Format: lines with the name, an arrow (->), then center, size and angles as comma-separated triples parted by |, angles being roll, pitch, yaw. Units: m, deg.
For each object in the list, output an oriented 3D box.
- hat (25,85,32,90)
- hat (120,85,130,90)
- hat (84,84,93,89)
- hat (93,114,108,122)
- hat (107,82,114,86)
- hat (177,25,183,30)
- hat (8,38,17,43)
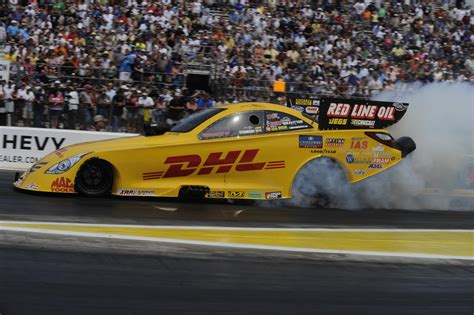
hat -> -5.343, -1.802, 16.854 | 0.183, 0.035, 0.130 | -15, 22, -13
hat -> -2.950, -1.854, 17.347 | 0.255, 0.048, 0.186 | -4, 26, -22
hat -> -3.872, -1.869, 17.201 | 0.210, 0.126, 0.176 | 2, 11, -2
hat -> -3.423, -0.984, 16.456 | 0.366, 0.097, 0.207 | -4, 4, -11
hat -> -3.343, -1.959, 17.401 | 0.137, 0.095, 0.120 | 2, 12, -8
hat -> -1.738, -4.032, 20.230 | 0.279, 0.046, 0.199 | 0, -3, -8
hat -> -6.850, -3.582, 20.072 | 0.282, 0.060, 0.227 | 9, 3, -14
